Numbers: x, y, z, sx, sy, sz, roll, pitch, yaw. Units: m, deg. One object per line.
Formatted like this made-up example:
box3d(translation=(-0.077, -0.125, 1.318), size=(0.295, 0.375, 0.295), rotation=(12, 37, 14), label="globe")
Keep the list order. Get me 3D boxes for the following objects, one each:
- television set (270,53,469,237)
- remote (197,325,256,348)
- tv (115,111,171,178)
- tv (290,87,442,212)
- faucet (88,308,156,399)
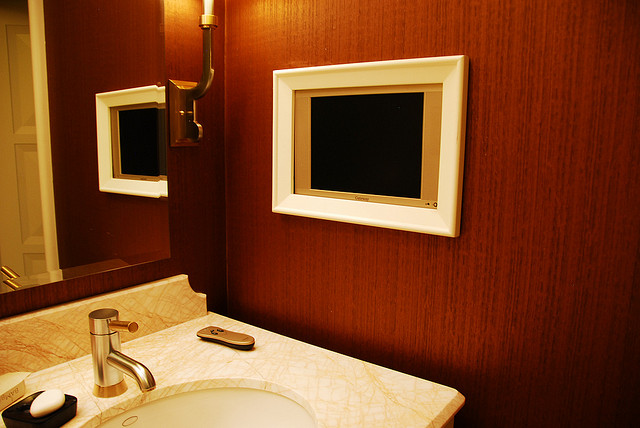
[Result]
box3d(translation=(0.170, -0.218, 1.454), size=(0.530, 0.444, 0.058), rotation=(6, 10, 29), label="television set")
box3d(translation=(-0.296, 0.386, 1.528), size=(0.140, 0.030, 0.074), rotation=(10, 7, 21), label="remote")
box3d(translation=(-0.570, -0.224, 1.535), size=(0.182, 0.257, 0.024), rotation=(-10, 14, -36), label="tv")
box3d(translation=(0.159, -0.203, 1.463), size=(0.354, 0.269, 0.018), rotation=(8, 10, 29), label="tv")
box3d(translation=(-0.526, 0.381, 1.283), size=(0.223, 0.232, 0.083), rotation=(10, 15, 31), label="faucet")
